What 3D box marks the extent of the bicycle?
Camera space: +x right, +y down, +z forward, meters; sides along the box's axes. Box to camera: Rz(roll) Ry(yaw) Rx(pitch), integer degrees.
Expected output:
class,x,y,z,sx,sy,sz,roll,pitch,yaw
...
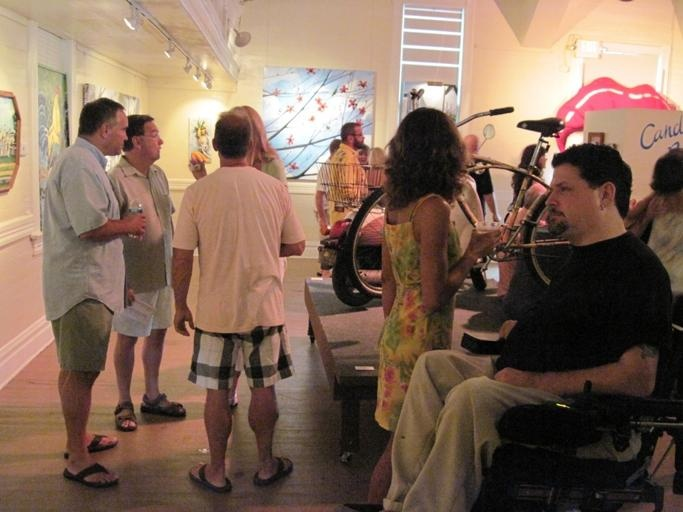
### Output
class,x,y,z,sx,sy,sz,roll,pitch,yaw
bicycle,1.017,-0.430,5.221,2.433,1.451,1.358,-4,11,-21

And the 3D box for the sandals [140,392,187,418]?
class,x,y,z,sx,sy,sz,roll,pitch,yaw
sandals,-1.175,0.975,4.070,0.297,0.121,0.134,3,-1,-6

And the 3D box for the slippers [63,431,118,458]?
class,x,y,z,sx,sy,sz,roll,pitch,yaw
slippers,-1.462,1.086,3.573,0.101,0.071,0.257,9,12,37

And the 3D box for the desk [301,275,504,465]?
class,x,y,z,sx,sy,sz,roll,pitch,yaw
desk,0.378,0.826,3.919,0.961,0.319,1.403,0,10,-3

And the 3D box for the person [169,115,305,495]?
class,x,y,z,sx,sy,sz,roll,pitch,yaw
person,-0.525,0.247,3.255,0.696,1.949,0.364,-2,13,-15

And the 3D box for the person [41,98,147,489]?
class,x,y,z,sx,sy,sz,roll,pitch,yaw
person,-1.372,0.166,3.382,0.523,1.985,0.728,1,13,-4

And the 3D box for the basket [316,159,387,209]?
class,x,y,z,sx,sy,sz,roll,pitch,yaw
basket,0.090,-0.523,4.964,0.450,0.273,0.433,-2,14,-17

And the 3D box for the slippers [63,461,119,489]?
class,x,y,z,sx,sy,sz,roll,pitch,yaw
slippers,-1.319,1.141,3.305,0.223,0.066,0.126,6,8,20

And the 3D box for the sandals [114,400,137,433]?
class,x,y,z,sx,sy,sz,roll,pitch,yaw
sandals,-1.329,1.010,3.831,0.089,0.100,0.253,1,-3,-21
